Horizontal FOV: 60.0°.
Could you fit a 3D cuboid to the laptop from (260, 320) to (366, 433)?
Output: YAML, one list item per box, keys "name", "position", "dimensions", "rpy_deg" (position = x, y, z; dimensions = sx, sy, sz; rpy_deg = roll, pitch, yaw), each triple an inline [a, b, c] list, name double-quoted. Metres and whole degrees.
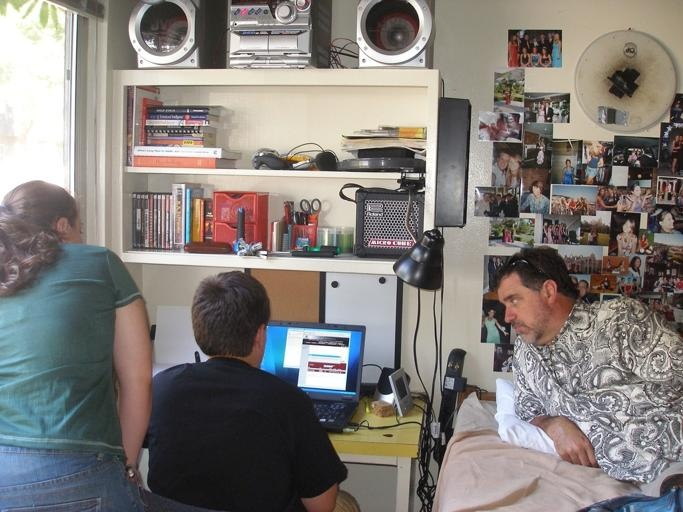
- name: "laptop"
  position: [-0.178, 0.541, 2.662]
  dimensions: [0.590, 0.353, 0.544]
  rpy_deg: [-3, 10, 4]

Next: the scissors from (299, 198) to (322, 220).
- name: "scissors"
  position: [-0.156, -0.241, 3.044]
  dimensions: [0.109, 0.133, 0.021]
  rpy_deg: [-1, -4, 3]

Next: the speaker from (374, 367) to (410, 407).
- name: "speaker"
  position: [0.241, 0.614, 2.807]
  dimensions: [0.047, 0.155, 0.162]
  rpy_deg: [8, -15, 43]

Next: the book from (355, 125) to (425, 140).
- name: "book"
  position: [0.215, -0.569, 2.750]
  dimensions: [0.351, 0.062, 0.063]
  rpy_deg: [2, 5, 9]

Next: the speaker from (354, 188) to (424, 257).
- name: "speaker"
  position: [0.234, -0.101, 2.886]
  dimensions: [0.342, 0.344, 0.215]
  rpy_deg: [2, -26, 0]

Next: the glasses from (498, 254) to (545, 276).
- name: "glasses"
  position: [0.808, 0.036, 2.584]
  dimensions: [0.098, 0.034, 0.100]
  rpy_deg: [-1, -30, 47]

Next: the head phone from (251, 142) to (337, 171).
- name: "head phone"
  position: [-0.220, -0.464, 2.871]
  dimensions: [0.294, 0.111, 0.223]
  rpy_deg: [0, 4, 4]

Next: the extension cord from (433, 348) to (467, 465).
- name: "extension cord"
  position: [0.553, 0.717, 3.053]
  dimensions: [0.110, 0.675, 0.153]
  rpy_deg: [11, 5, 18]
